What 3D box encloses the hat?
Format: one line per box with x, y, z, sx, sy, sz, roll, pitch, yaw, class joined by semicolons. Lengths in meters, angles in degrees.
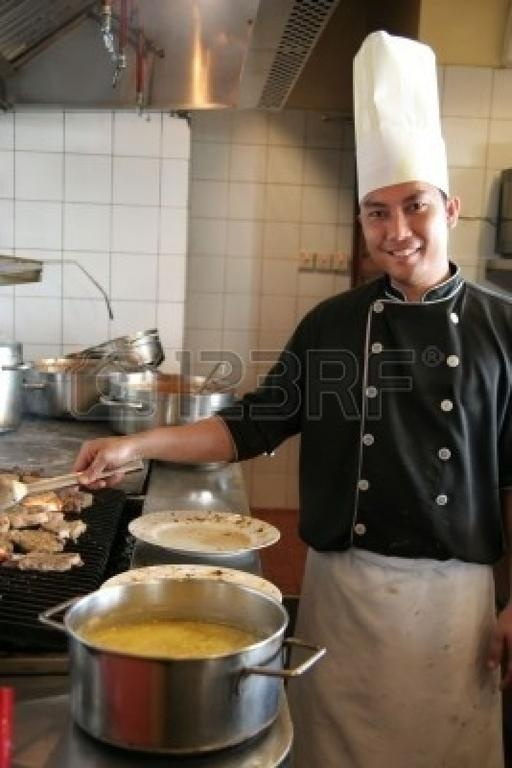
0.229;-0.420;1.097;0.148;0.270;0.154;1;5;7;hat

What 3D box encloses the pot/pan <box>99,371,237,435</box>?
-0.257;0.047;1.842;0.296;0.093;0.204;1;2;-3;pot/pan

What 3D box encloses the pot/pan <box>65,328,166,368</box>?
-0.436;-0.111;2.321;0.189;0.074;0.248;6;-8;1;pot/pan

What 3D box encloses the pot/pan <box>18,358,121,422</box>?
-0.594;0.010;2.233;0.371;0.227;0.191;4;11;7;pot/pan
